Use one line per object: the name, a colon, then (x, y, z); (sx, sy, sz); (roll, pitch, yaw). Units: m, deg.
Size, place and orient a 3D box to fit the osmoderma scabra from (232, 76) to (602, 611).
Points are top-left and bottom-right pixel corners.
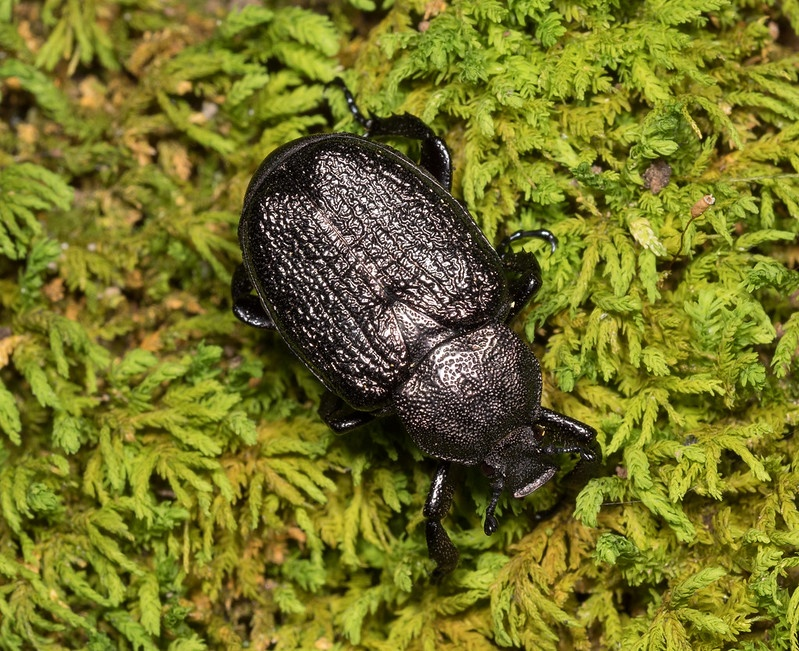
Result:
osmoderma scabra: (0.012, -0.084, 4.034); (1.636, 0.697, 2.281); (-34, 76, -6)
